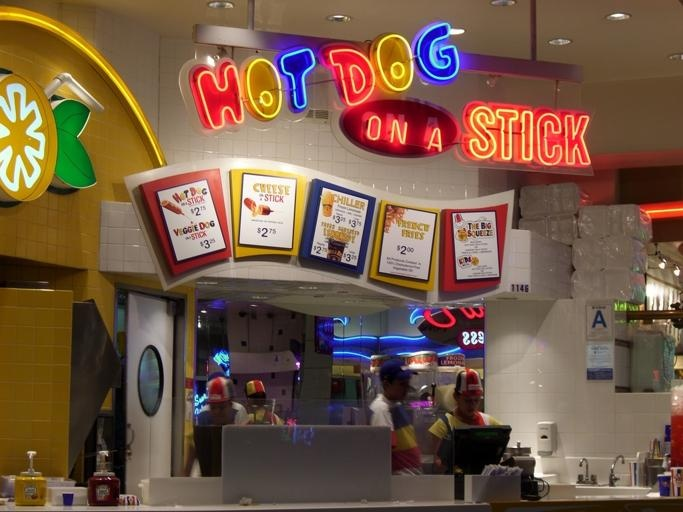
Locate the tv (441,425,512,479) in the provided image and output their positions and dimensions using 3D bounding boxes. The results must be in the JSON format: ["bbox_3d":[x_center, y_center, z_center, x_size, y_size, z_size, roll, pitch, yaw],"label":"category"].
[{"bbox_3d":[0.974,1.422,5.764,0.492,0.344,0.187,-1,-10,5],"label":"tv"}]

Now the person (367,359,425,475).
[{"bbox_3d":[0.398,1.168,5.802,0.354,0.825,0.814,-1,-10,6],"label":"person"}]

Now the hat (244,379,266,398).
[{"bbox_3d":[-0.959,1.463,8.723,0.189,0.209,0.265,0,6,-3],"label":"hat"}]

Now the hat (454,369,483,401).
[{"bbox_3d":[1.054,1.054,6.599,0.227,0.200,0.317,2,4,-1],"label":"hat"}]

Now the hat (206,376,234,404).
[{"bbox_3d":[-0.884,0.988,5.796,0.158,0.135,0.215,0,3,3],"label":"hat"}]

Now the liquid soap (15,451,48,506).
[{"bbox_3d":[-2.032,1.444,5.166,0.190,0.313,0.642,4,-11,-23],"label":"liquid soap"}]

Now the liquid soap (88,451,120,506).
[{"bbox_3d":[-1.519,1.425,5.061,0.194,0.323,0.312,3,-11,-18],"label":"liquid soap"}]

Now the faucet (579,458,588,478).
[{"bbox_3d":[2.727,2.394,8.872,0.098,0.219,0.138,3,-10,-15],"label":"faucet"}]

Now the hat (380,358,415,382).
[{"bbox_3d":[0.433,0.895,6.172,0.209,0.118,0.154,-1,3,-7],"label":"hat"}]
